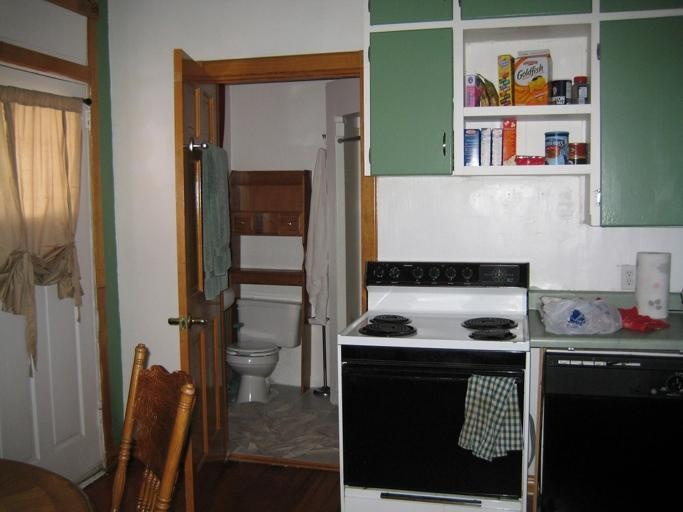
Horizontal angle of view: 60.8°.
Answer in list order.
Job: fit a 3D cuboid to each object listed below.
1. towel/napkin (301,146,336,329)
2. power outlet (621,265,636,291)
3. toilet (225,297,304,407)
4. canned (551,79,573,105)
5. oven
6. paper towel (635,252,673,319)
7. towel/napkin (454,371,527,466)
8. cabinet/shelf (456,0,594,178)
[{"bbox_3d":[-0.161,-0.156,4.405,0.189,1.323,0.292,-3,12,-20],"label":"towel/napkin"},{"bbox_3d":[1.466,0.111,3.002,0.070,0.133,0.047,4,11,12],"label":"power outlet"},{"bbox_3d":[-0.613,0.736,4.646,0.571,0.735,0.510,0,11,-5],"label":"toilet"},{"bbox_3d":[1.057,-0.791,2.817,0.107,0.124,0.105,4,12,14],"label":"canned"},{"bbox_3d":[0.454,0.667,2.851,0.892,0.951,0.627,0,-4,9],"label":"oven"},{"bbox_3d":[1.526,0.124,2.874,0.150,0.317,0.152,2,18,30],"label":"paper towel"},{"bbox_3d":[0.641,0.676,2.477,0.324,0.413,0.181,6,12,27],"label":"towel/napkin"},{"bbox_3d":[0.911,-0.829,2.874,0.778,0.988,0.278,0,1,19],"label":"cabinet/shelf"}]
